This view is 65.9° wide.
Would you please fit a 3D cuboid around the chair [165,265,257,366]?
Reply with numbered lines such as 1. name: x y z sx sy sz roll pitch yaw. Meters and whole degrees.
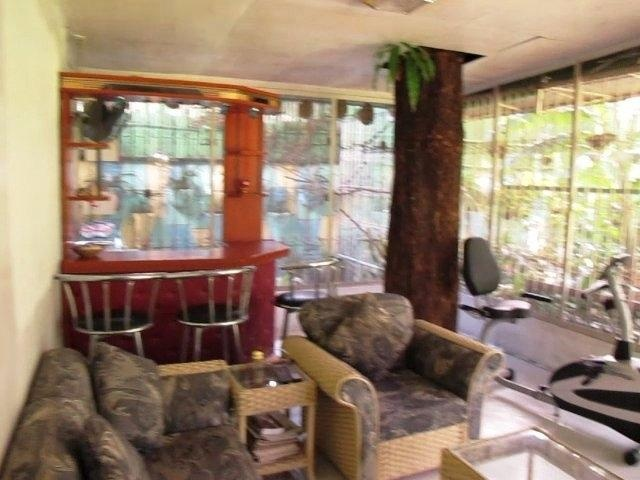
1. chair: -0.852 0.557 3.725 0.899 0.816 0.640 -1 8 -19

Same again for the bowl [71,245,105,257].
1. bowl: -1.730 0.079 3.707 0.201 0.096 0.168 -5 8 -24

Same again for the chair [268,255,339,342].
1. chair: -0.121 0.548 4.993 0.808 0.939 0.803 1 0 -29

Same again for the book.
1. book: -0.272 1.133 2.851 0.249 0.091 0.285 1 0 -24
